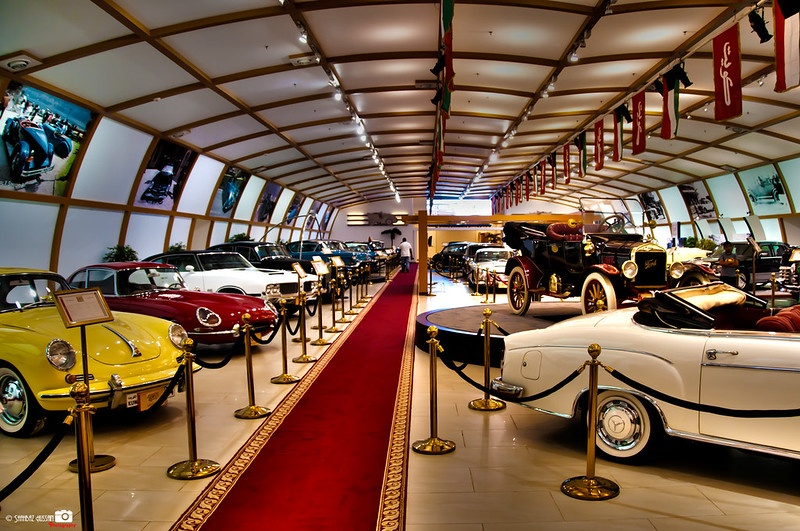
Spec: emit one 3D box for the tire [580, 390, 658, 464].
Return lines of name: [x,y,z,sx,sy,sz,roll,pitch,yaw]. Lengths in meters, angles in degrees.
tire: [2.486,1.750,5.194,0.288,0.764,0.807,16,-15,-28]

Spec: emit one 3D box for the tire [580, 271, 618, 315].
tire: [3.536,0.480,8.308,0.314,0.860,0.808,1,-3,-13]

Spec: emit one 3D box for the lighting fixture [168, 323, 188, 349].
lighting fixture: [-2.991,0.946,6.288,0.095,0.238,0.228,-31,10,24]

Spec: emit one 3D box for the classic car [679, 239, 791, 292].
classic car: [9.473,-0.010,13.062,4.608,1.463,1.979,0,-1,-18]

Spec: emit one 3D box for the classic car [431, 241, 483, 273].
classic car: [2.596,-0.525,24.918,2.656,1.166,1.454,3,4,19]

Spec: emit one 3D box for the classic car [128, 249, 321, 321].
classic car: [-3.855,0.208,10.918,3.598,1.005,1.891,2,3,18]

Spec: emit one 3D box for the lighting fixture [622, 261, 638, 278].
lighting fixture: [4.024,0.071,8.208,0.281,0.318,0.198,-10,16,-38]

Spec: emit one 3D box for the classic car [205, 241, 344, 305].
classic car: [-3.644,0.247,13.796,3.730,1.107,1.866,3,5,16]

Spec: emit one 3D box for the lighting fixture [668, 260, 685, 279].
lighting fixture: [4.870,0.105,8.264,0.233,0.307,0.326,9,16,39]

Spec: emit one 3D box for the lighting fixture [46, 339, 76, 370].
lighting fixture: [-3.966,1.047,5.485,0.269,0.353,0.184,2,13,11]
